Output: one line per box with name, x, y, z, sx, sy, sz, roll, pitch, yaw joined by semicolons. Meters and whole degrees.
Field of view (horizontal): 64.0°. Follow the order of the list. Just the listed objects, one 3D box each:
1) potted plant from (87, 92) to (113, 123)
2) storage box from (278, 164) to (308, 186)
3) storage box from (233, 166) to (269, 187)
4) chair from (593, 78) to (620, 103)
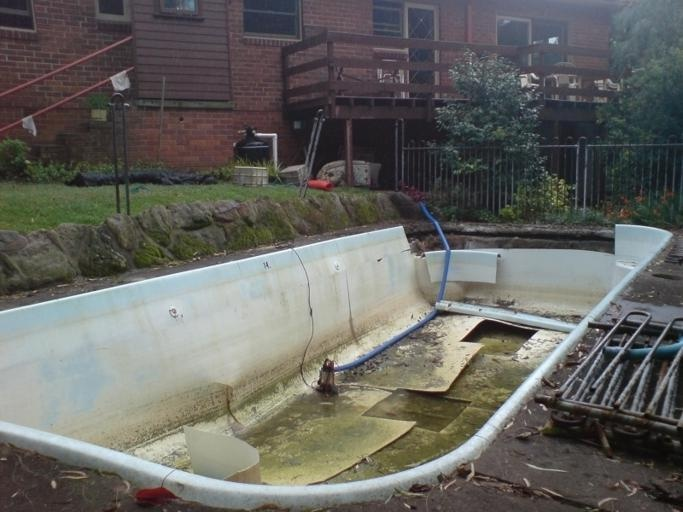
potted plant;-4.678;-2.854;10.549;0.421;0.556;0.328;-8;14;-24
storage box;-0.947;-1.642;11.023;0.497;0.342;0.514;8;24;36
storage box;-1.700;-1.477;10.313;0.452;0.304;0.471;4;5;38
chair;7.034;-4.378;14.450;0.654;0.651;2.296;3;14;24
